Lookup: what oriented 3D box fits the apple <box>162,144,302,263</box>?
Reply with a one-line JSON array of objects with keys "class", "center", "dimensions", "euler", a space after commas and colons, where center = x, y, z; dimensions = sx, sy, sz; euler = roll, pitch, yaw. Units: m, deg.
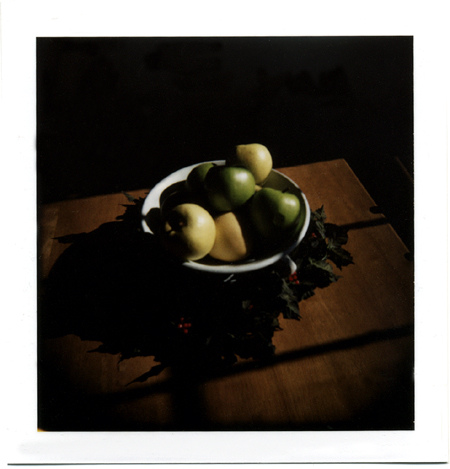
[{"class": "apple", "center": [0.008, -0.055, 0.856], "dimensions": [0.177, 0.133, 0.228], "euler": [5, 53, 5]}]

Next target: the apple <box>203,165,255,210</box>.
[{"class": "apple", "center": [0.008, -0.080, 0.862], "dimensions": [0.073, 0.095, 0.079], "euler": [8, 15, 27]}]
